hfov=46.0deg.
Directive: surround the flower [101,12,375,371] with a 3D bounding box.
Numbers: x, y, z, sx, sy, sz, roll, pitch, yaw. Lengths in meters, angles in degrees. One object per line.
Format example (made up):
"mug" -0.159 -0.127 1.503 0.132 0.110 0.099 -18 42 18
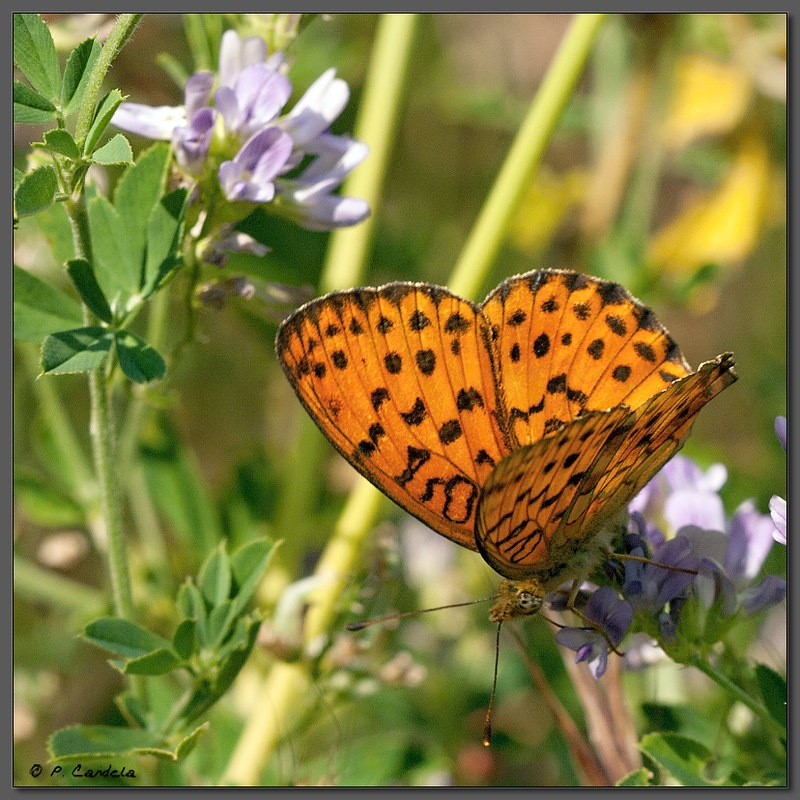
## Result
"flower" -0.185 -0.244 1.207 0.336 0.169 0.338 25 100 8
